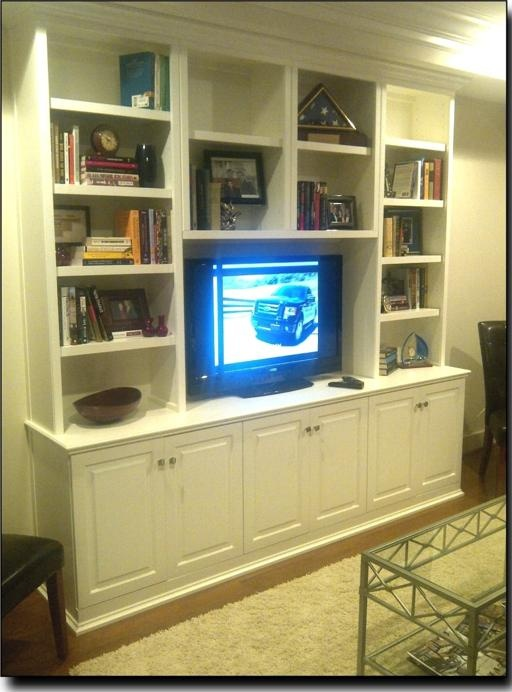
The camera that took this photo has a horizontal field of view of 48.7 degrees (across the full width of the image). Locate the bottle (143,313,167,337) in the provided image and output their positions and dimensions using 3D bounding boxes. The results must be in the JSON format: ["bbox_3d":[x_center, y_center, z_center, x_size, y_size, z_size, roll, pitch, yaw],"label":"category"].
[{"bbox_3d":[-0.332,-0.062,1.880,0.059,0.098,0.106,4,5,42],"label":"bottle"}]

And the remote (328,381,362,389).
[{"bbox_3d":[0.357,0.154,2.249,0.084,0.016,0.049,3,9,15],"label":"remote"}]

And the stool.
[{"bbox_3d":[-0.560,0.661,1.433,0.147,0.346,0.348,-3,7,-19],"label":"stool"}]

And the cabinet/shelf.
[{"bbox_3d":[-0.084,-0.091,1.886,1.764,1.827,0.458,-7,9,-40],"label":"cabinet/shelf"}]

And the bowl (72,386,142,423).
[{"bbox_3d":[-0.463,0.191,1.781,0.192,0.083,0.244,-2,6,-11],"label":"bowl"}]

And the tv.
[{"bbox_3d":[0.097,-0.093,2.273,0.112,0.518,0.700,-11,4,-39],"label":"tv"}]

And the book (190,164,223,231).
[{"bbox_3d":[-0.174,-0.501,1.906,0.119,0.209,0.037,-4,7,-32],"label":"book"}]
